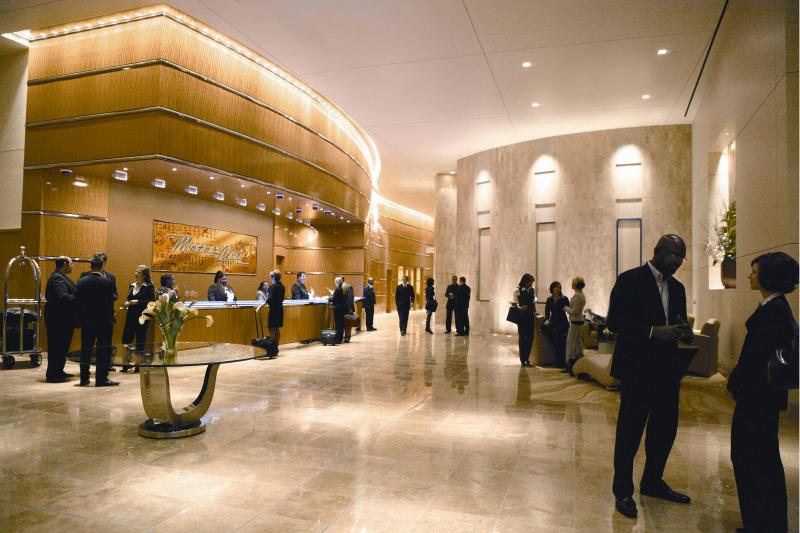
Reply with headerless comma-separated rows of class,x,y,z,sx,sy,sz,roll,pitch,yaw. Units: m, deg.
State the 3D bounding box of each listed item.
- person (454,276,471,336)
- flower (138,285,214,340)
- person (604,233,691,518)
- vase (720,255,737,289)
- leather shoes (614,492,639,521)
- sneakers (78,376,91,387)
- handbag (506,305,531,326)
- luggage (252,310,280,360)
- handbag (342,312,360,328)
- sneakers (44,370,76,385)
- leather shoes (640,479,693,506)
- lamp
person,1.708,1.111,15.318,0.365,1.628,0.477,1,7,6
flower,-2.964,0.724,7.099,0.847,0.597,0.847,2,13,-14
person,2.465,1.042,5.460,0.819,2.691,0.572,-2,7,-16
vase,5.519,0.091,9.320,0.327,0.549,0.338,1,-1,19
leather shoes,2.197,2.331,5.338,0.215,0.160,0.165,3,8,22
sneakers,-5.080,1.858,8.825,0.153,0.166,0.143,8,-11,-39
handbag,2.259,0.961,10.613,0.385,0.376,0.377,4,-16,46
luggage,-2.710,1.352,11.289,0.510,0.965,0.375,-4,-2,4
handbag,-1.233,1.445,13.723,0.494,0.538,0.303,3,10,3
sneakers,-5.628,1.805,9.024,0.567,0.243,0.187,-1,1,-29
leather shoes,2.649,2.283,5.523,0.515,0.213,0.176,0,-3,18
lamp,-3.749,-1.659,12.662,2.452,1.154,5.663,4,8,26
